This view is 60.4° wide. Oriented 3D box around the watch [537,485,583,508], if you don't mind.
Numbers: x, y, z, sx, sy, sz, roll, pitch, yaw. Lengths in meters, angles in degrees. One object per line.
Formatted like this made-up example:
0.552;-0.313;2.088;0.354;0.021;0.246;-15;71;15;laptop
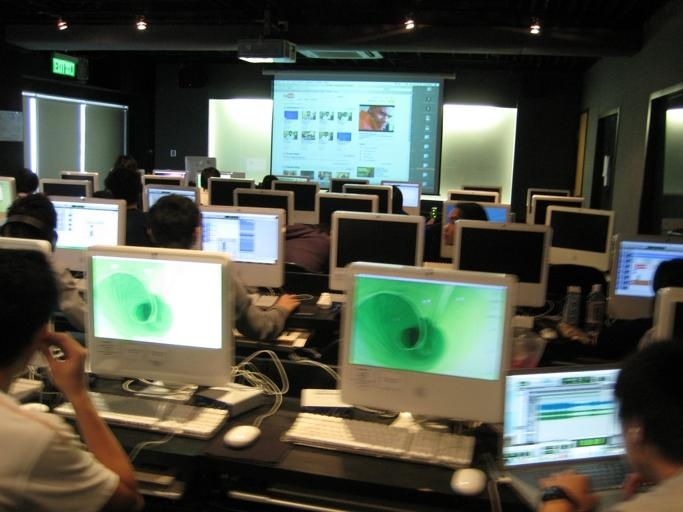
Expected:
0.582;0.636;1.569;0.064;0.022;0.062;4;9;-16;watch

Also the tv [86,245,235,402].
-0.642;0.230;2.078;0.569;0.462;0.197;2;4;8;tv

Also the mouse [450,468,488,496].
0.375;0.646;1.717;0.074;0.032;0.069;0;23;13;mouse

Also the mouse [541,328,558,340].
0.948;0.356;2.688;0.049;0.031;0.057;0;8;7;mouse

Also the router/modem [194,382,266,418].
-0.378;0.488;2.108;0.148;0.037;0.142;6;7;33;router/modem

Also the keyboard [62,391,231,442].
-0.620;0.536;2.003;0.369;0.036;0.114;7;28;15;keyboard

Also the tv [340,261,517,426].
0.285;0.288;1.909;0.555;0.462;0.175;4;4;12;tv
